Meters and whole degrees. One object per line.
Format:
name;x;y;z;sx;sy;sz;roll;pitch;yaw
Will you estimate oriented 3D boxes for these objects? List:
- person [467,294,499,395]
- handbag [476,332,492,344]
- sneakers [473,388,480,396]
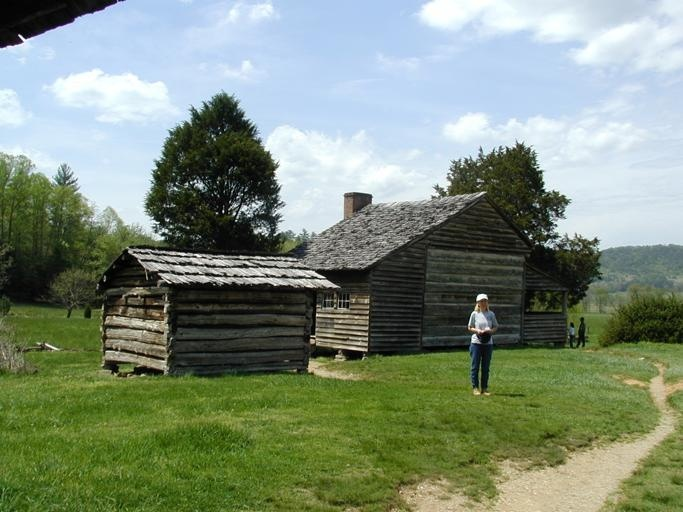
person;3.434;2.212;16.646;0.625;2.557;0.654;5;6;9
handbag;3.479;2.006;16.544;0.313;0.208;0.294;-2;2;-20
sneakers;3.359;3.398;16.780;0.116;0.117;0.182;-1;-19;-3
